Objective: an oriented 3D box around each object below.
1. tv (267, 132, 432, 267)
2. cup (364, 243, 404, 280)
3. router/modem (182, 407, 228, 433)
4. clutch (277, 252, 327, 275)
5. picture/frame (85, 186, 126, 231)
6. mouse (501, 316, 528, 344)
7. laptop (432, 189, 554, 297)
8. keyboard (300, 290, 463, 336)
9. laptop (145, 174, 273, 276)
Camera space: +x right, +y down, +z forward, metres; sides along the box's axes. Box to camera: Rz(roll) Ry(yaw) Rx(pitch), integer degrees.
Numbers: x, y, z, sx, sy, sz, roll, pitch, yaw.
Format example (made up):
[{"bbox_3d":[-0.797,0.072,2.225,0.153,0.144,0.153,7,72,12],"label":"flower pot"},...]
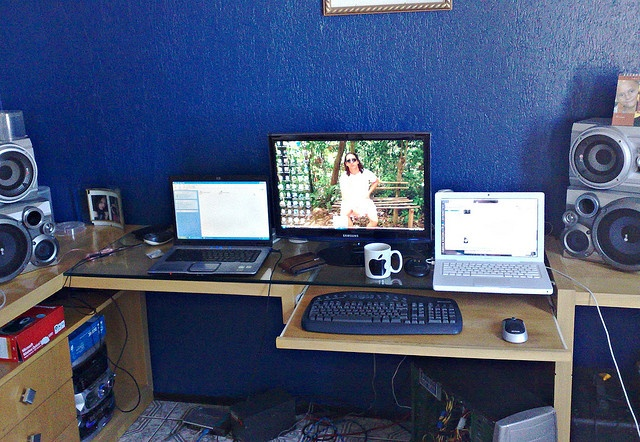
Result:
[{"bbox_3d":[0.161,-0.086,2.257,0.792,0.578,0.251,2,9,30],"label":"tv"},{"bbox_3d":[0.274,0.180,2.095,0.174,0.116,0.111,0,2,-7],"label":"cup"},{"bbox_3d":[-0.558,0.991,2.500,0.218,0.047,0.146,3,13,15],"label":"router/modem"},{"bbox_3d":[-0.075,0.180,2.129,0.133,0.030,0.099,-16,27,-35],"label":"clutch"},{"bbox_3d":[-1.140,-0.071,2.607,0.241,0.250,0.044,3,18,9],"label":"picture/frame"},{"bbox_3d":[0.740,0.417,1.854,0.094,0.072,0.081,2,12,20],"label":"mouse"},{"bbox_3d":[0.707,0.082,2.029,0.479,0.281,0.359,0,24,16],"label":"laptop"},{"bbox_3d":[0.251,0.375,1.960,0.515,0.063,0.228,2,21,4],"label":"keyboard"},{"bbox_3d":[-0.492,0.022,2.174,0.538,0.316,0.402,3,19,13],"label":"laptop"}]
